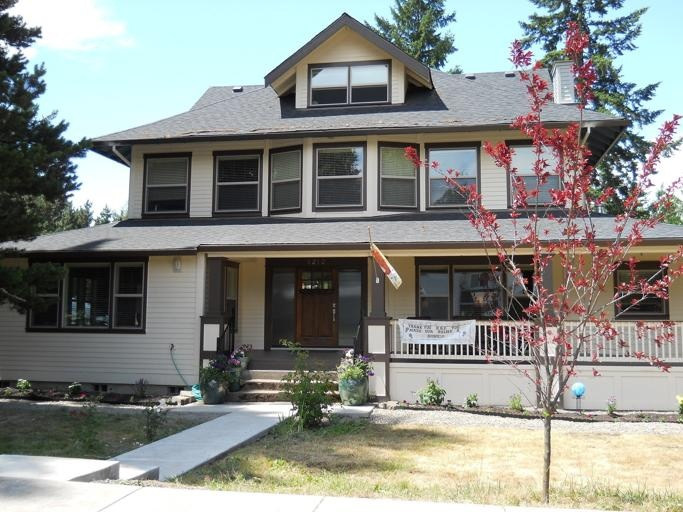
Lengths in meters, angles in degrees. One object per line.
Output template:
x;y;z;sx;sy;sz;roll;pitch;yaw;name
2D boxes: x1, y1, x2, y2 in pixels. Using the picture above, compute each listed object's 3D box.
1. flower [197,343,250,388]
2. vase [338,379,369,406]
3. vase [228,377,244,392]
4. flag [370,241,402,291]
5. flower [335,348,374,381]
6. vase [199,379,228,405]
-3.202;3.004;18.109;1.351;0.777;1.189;4;-14;-20;flower
0.376;3.469;17.088;0.764;0.481;0.700;-2;-10;14;vase
-2.852;3.455;18.105;0.399;0.237;0.372;1;-1;14;vase
1.104;0.199;17.059;0.591;1.234;1.373;2;-8;-9;flag
0.376;2.833;17.428;0.828;0.457;0.748;0;-7;10;flower
-3.357;3.561;17.698;0.768;0.471;0.647;2;-4;-20;vase
